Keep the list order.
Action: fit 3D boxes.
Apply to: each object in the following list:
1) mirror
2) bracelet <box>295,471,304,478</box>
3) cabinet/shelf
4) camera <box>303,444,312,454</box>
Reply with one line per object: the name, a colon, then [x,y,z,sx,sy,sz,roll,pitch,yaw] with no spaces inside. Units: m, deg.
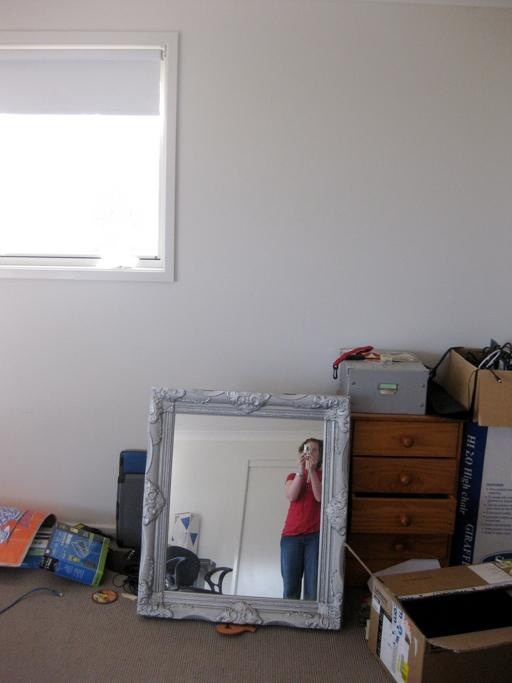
mirror: [-0.032,0.585,1.998,0.868,0.901,0.067,2,-4,3]
bracelet: [0.155,0.455,2.018,0.027,0.016,0.023,-7,-15,-11]
cabinet/shelf: [0.536,0.595,2.295,0.445,0.692,0.391,3,13,7]
camera: [0.180,0.369,2.022,0.036,0.031,0.008,1,-5,-3]
